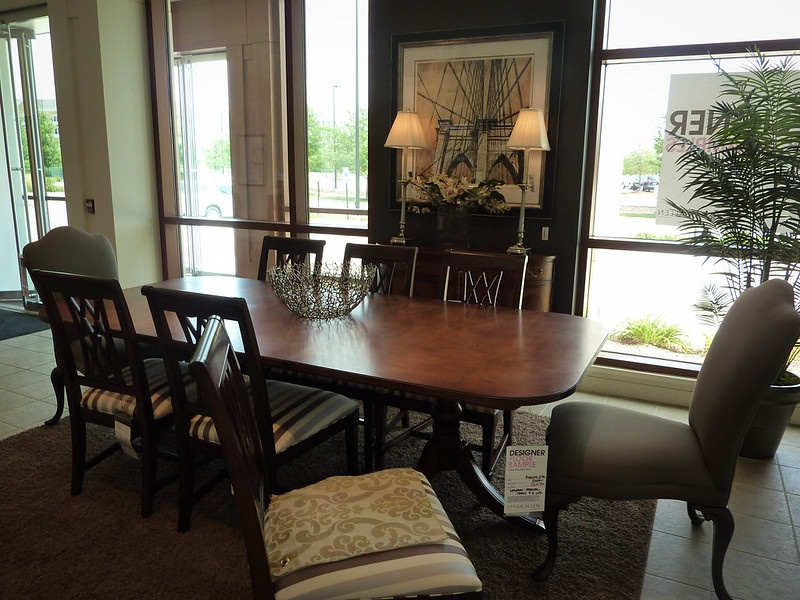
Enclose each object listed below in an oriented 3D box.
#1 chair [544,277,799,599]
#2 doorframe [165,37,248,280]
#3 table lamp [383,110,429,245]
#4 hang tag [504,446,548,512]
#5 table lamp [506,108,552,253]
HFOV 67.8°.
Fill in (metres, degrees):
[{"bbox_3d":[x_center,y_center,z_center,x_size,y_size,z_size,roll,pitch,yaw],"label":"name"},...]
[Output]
[{"bbox_3d":[1.153,0.578,2.676,0.945,1.373,0.573,5,16,15],"label":"chair"},{"bbox_3d":[-1.956,-1.310,5.897,0.856,2.181,0.277,12,19,35],"label":"doorframe"},{"bbox_3d":[0.040,-0.976,4.698,0.305,1.003,0.543,1,15,1],"label":"table lamp"},{"bbox_3d":[0.527,0.751,2.509,0.182,0.292,0.097,0,15,-5],"label":"hang tag"},{"bbox_3d":[0.908,-0.857,4.310,0.296,1.031,0.528,4,16,12],"label":"table lamp"}]
